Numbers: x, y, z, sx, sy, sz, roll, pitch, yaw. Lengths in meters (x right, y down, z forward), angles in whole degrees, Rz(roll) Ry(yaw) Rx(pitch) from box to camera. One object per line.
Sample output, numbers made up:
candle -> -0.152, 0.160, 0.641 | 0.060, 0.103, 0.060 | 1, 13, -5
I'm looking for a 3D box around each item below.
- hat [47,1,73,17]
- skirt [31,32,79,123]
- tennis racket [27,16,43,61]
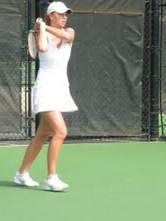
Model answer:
hat -> -0.207, -0.862, 2.962 | 0.174, 0.085, 0.129 | 3, 14, 38
skirt -> -0.229, -0.353, 2.878 | 0.418, 0.863, 0.238 | -2, 8, -40
tennis racket -> -0.446, -0.604, 3.059 | 0.113, 0.307, 0.240 | -2, 18, 6
